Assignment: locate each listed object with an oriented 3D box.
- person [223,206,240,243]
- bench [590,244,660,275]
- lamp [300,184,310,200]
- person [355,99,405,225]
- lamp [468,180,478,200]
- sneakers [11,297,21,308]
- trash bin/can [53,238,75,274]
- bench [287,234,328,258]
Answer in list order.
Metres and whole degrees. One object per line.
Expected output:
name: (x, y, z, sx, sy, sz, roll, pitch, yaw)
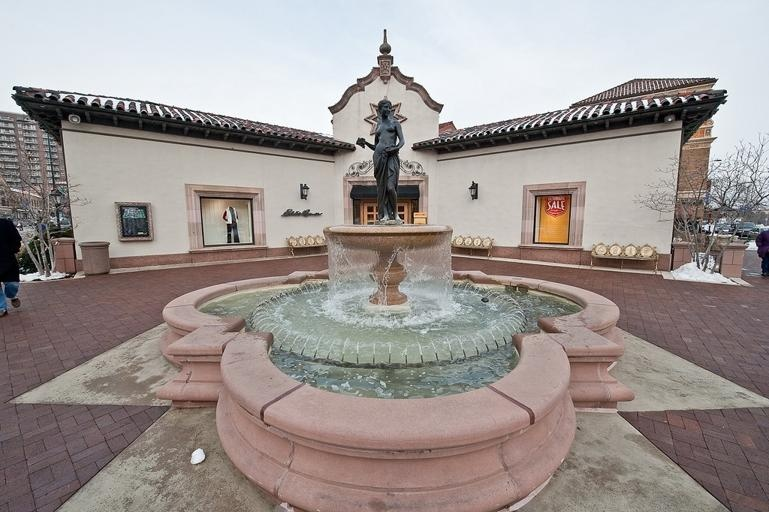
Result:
person: (-6.161, -1.258, 15.726, 0.552, 1.491, 0.160, -8, 11, -44)
bench: (8.042, 0.002, 13.228, 1.974, 0.847, 0.594, 4, 9, 28)
lamp: (-3.466, -2.806, 17.131, 0.462, 0.705, 0.174, -8, 11, -43)
person: (0.009, -2.060, 8.558, 0.735, 2.632, 1.079, 0, 8, 2)
lamp: (3.675, -2.744, 16.461, 0.445, 0.776, 0.249, 3, 9, 26)
sneakers: (-8.384, 1.043, 8.911, 0.321, 0.216, 0.112, -37, -20, 33)
trash bin/can: (-10.391, -0.014, 12.735, 0.427, 1.046, 1.088, -2, 5, -38)
bench: (-3.463, -0.508, 17.304, 1.782, 0.854, 0.440, -6, 9, -36)
